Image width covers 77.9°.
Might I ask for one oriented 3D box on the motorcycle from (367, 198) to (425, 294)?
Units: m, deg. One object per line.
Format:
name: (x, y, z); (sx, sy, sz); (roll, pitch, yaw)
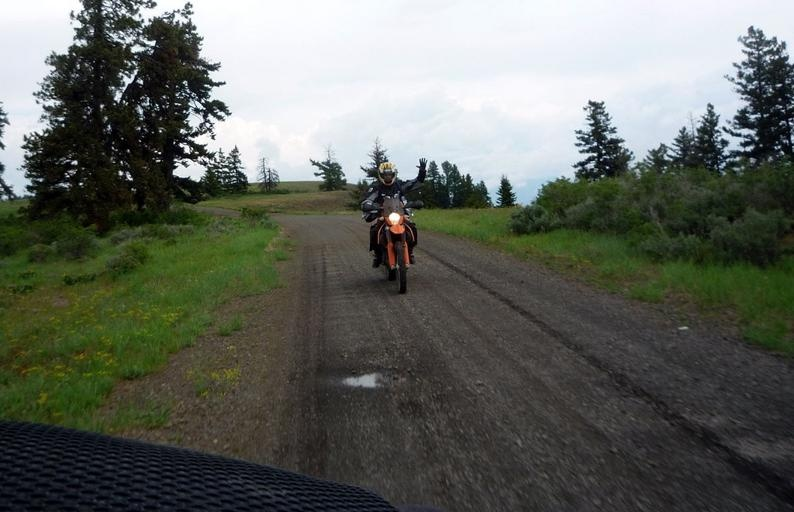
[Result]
motorcycle: (-0.096, -0.306, 12.460); (1.275, 2.205, 1.731); (-4, 12, -9)
